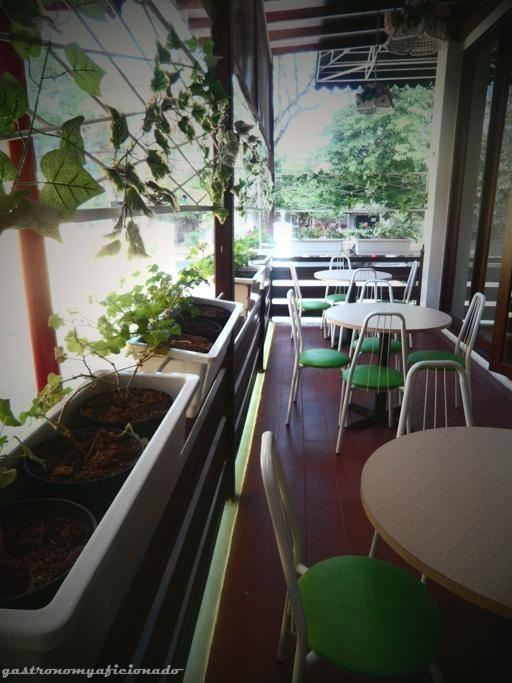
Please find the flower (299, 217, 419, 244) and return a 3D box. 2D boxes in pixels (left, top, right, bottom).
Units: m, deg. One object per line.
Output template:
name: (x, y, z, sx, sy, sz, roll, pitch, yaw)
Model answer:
flower: (1.881, -2.139, 8.936, 1.972, 0.484, 1.248, 0, 21, 2)
